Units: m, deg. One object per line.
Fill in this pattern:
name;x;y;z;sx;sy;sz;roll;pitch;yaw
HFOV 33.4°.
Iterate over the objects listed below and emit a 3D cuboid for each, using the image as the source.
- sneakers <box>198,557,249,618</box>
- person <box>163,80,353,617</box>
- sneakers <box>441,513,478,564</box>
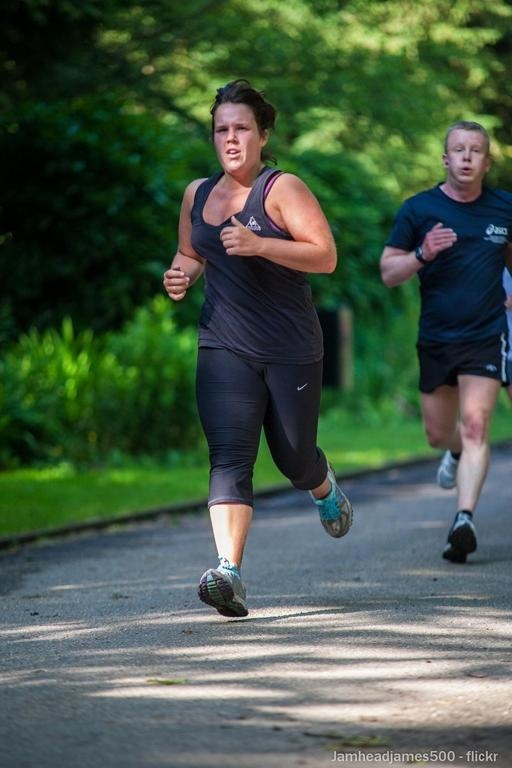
sneakers;-0.113;0.785;3.238;0.125;0.296;0.132;-7;59;28
person;0.005;-0.143;3.447;0.697;2.128;1.136;-7;17;-2
sneakers;1.084;0.814;4.517;0.164;0.349;0.173;9;44;1
